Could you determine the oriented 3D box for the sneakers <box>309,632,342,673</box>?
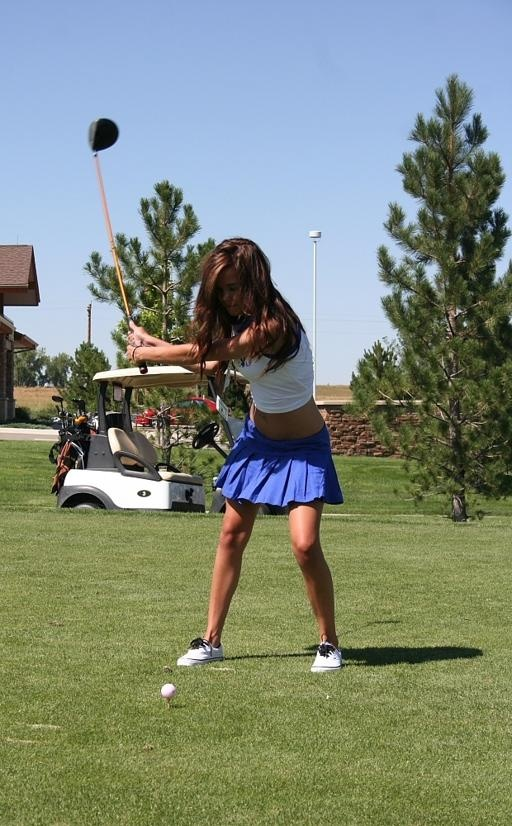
[{"bbox_3d":[0.242,0.845,4.122,0.091,0.088,0.187,0,-1,19],"label":"sneakers"}]

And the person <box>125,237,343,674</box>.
[{"bbox_3d":[-0.052,0.147,4.267,0.709,1.487,0.612,0,0,3],"label":"person"}]

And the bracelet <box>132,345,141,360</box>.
[{"bbox_3d":[-0.440,-0.220,4.355,0.040,0.042,0.041,1,-7,-10],"label":"bracelet"}]

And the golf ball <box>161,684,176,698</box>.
[{"bbox_3d":[-0.268,0.847,3.627,0.044,0.043,0.096,0,-1,-5],"label":"golf ball"}]

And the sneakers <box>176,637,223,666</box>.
[{"bbox_3d":[-0.198,0.846,4.157,0.065,0.075,0.180,-9,-13,31],"label":"sneakers"}]
